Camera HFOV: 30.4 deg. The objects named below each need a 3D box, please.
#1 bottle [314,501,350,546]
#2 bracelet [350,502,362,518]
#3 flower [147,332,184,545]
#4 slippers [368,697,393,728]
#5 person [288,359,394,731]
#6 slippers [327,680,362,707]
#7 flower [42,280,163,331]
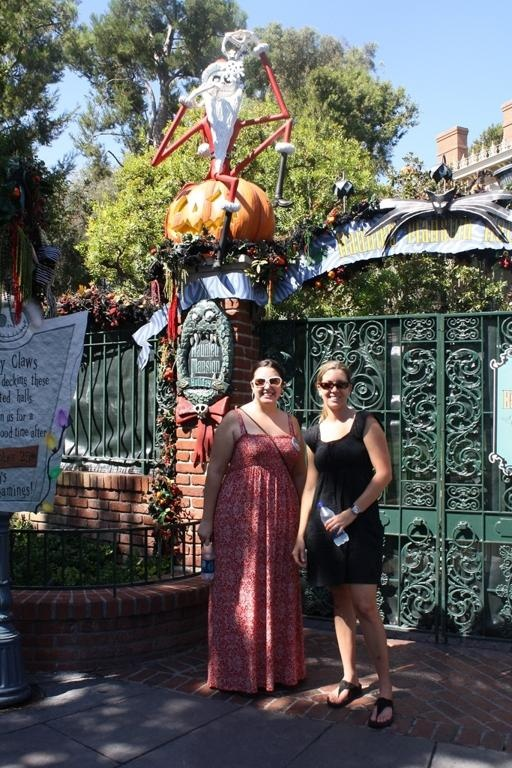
[{"bbox_3d":[0.391,0.753,4.983,0.111,0.225,0.248,1,-3,-32],"label":"bottle"},{"bbox_3d":[0.526,0.659,4.891,0.048,0.071,0.072,-48,-28,20],"label":"bracelet"},{"bbox_3d":[-0.687,0.435,7.134,0.262,1.632,1.029,0,-3,-7],"label":"flower"},{"bbox_3d":[0.646,1.685,4.792,0.149,0.135,0.120,0,-3,-9],"label":"slippers"},{"bbox_3d":[0.455,0.816,5.028,0.588,1.886,0.346,-2,-3,24],"label":"person"},{"bbox_3d":[0.484,1.694,5.100,0.083,0.090,0.228,-5,-10,35],"label":"slippers"},{"bbox_3d":[-1.335,-0.678,8.272,0.613,0.227,0.684,14,15,36],"label":"flower"}]
